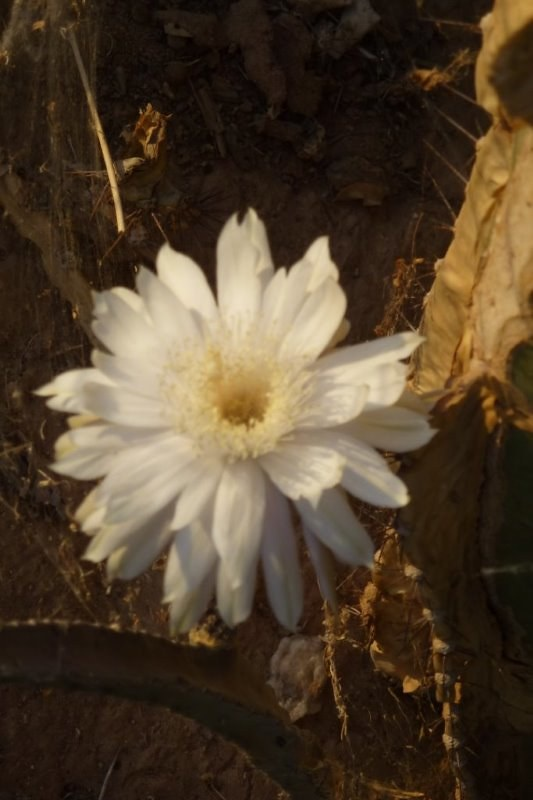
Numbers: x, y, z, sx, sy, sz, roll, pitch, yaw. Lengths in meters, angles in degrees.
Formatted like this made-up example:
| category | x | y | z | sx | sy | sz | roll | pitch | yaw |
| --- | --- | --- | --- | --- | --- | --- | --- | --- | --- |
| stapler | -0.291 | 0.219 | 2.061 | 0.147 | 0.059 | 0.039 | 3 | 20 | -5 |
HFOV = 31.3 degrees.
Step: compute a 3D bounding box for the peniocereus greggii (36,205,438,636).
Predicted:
| category | x | y | z | sx | sy | sz | roll | pitch | yaw |
| --- | --- | --- | --- | --- | --- | --- | --- | --- | --- |
| peniocereus greggii | -0.021 | 0.020 | 1.676 | 0.661 | 0.312 | 0.604 | 29 | 81 | 39 |
